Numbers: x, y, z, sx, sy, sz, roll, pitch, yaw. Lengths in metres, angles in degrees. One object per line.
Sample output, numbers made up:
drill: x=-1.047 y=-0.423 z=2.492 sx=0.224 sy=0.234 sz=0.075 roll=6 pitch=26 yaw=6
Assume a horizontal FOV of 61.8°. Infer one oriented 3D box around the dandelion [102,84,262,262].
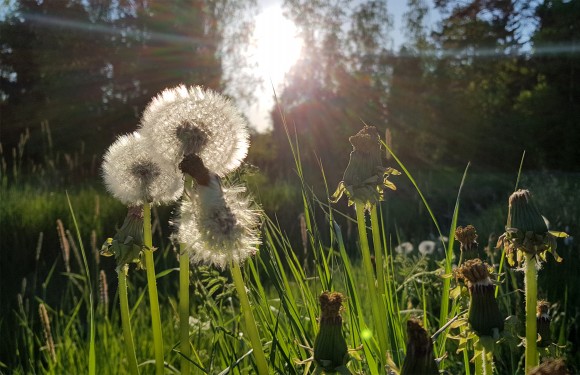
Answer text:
dandelion: x=-1.091 y=-0.200 z=4.180 sx=1.152 sy=1.286 sz=0.477 roll=8 pitch=9 yaw=3
